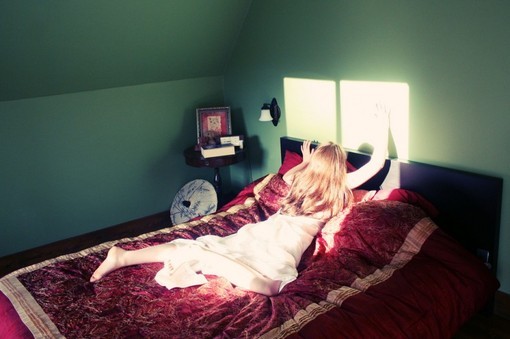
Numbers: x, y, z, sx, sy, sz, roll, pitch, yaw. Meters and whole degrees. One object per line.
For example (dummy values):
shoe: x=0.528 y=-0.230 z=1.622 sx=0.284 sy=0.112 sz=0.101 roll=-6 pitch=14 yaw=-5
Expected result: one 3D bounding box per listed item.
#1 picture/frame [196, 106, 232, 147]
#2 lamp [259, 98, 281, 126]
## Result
picture/frame: x=-0.479 y=-0.497 z=4.232 sx=0.456 sy=0.542 sz=0.053 roll=-4 pitch=8 yaw=-19
lamp: x=0.148 y=-0.626 z=3.961 sx=0.195 sy=0.309 sz=0.196 roll=-3 pitch=6 yaw=-5
